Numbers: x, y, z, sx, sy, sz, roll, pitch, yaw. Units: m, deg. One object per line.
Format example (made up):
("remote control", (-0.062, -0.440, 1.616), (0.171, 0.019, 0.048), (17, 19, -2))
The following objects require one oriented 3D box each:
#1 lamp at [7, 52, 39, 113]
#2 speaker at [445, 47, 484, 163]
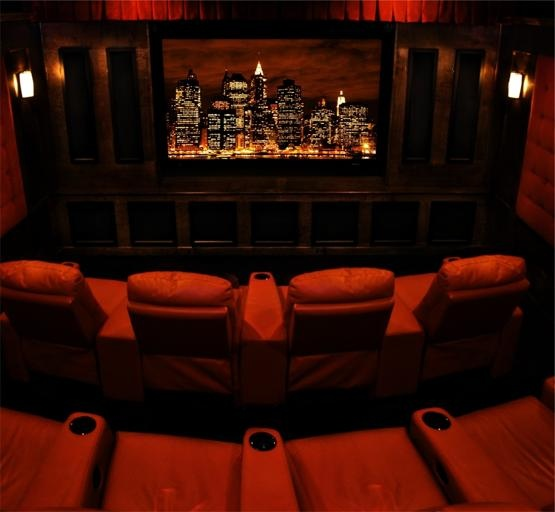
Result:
("lamp", (-1.927, -1.386, 3.730), (0.125, 0.449, 0.395), (1, -16, -12))
("speaker", (1.601, -1.284, 4.215), (0.268, 0.764, 0.497), (-3, -15, 1))
